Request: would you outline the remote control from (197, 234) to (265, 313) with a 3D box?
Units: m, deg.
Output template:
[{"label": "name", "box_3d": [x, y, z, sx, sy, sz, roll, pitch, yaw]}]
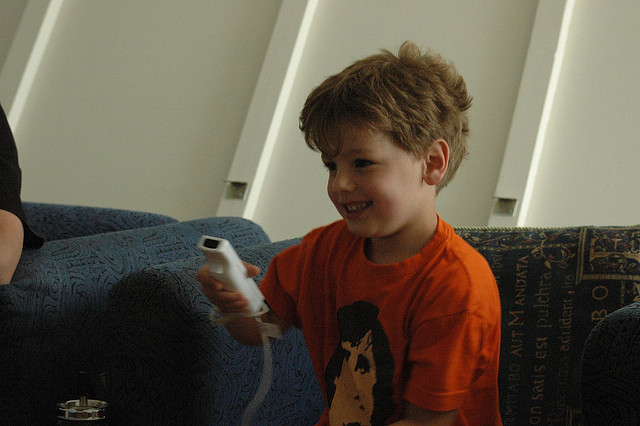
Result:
[{"label": "remote control", "box_3d": [-0.176, 0.134, 1.005, 0.079, 0.244, 0.067, -16, 30, -27]}]
